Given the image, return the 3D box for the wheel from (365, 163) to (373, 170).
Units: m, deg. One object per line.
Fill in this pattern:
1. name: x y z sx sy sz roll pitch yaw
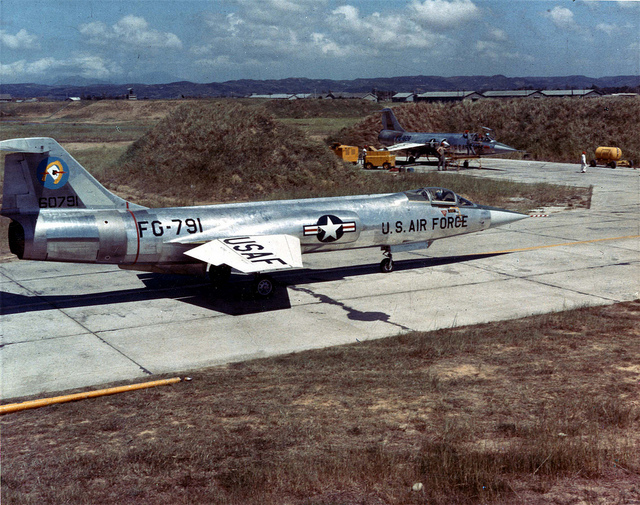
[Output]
1. wheel: 4.996 -8.822 59.044 0.456 0.571 0.810 6 -6 -1

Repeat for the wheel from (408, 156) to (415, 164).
1. wheel: 10.021 -10.169 63.286 0.677 0.837 0.682 -1 9 0

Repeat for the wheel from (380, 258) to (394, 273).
1. wheel: 2.765 0.523 23.861 0.522 0.587 0.454 -1 10 -1

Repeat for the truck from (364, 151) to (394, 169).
1. truck: 6.170 -9.591 58.949 4.017 1.539 2.337 1 6 16

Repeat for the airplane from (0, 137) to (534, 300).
1. airplane: -2.360 -0.986 20.433 15.136 2.803 9.255 -1 8 -21

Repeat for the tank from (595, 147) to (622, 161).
1. tank: 29.935 -10.211 59.539 0.898 1.450 2.381 -5 9 -21

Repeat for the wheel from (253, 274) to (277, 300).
1. wheel: -2.024 1.229 20.363 0.782 0.911 0.281 -7 13 -33
